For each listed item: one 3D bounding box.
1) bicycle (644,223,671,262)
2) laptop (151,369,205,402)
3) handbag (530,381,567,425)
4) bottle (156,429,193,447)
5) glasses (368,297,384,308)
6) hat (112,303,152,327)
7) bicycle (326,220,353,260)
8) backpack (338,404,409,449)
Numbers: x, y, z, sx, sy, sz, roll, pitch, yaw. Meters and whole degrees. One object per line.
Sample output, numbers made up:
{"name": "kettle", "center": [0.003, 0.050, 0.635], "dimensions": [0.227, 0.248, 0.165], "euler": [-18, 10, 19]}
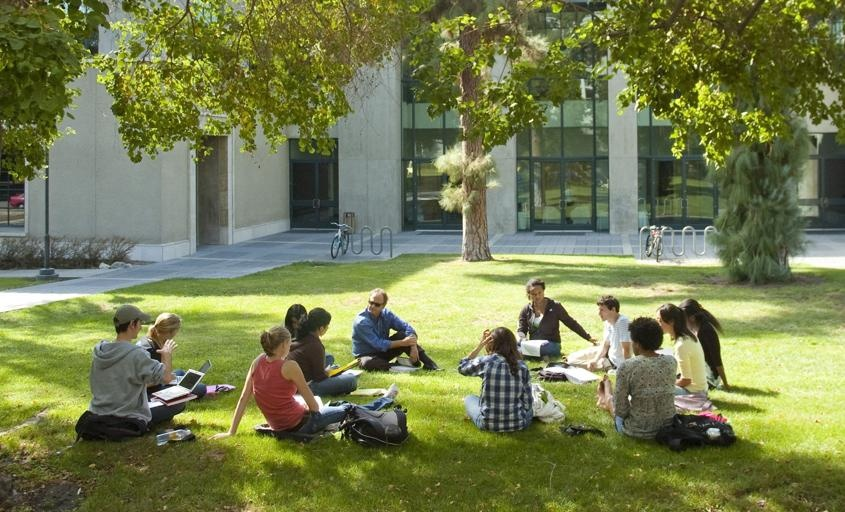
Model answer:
{"name": "bicycle", "center": [8.360, -0.447, 26.380], "dimensions": [0.897, 1.105, 1.919], "euler": [2, 1, -2]}
{"name": "laptop", "center": [-3.522, 1.894, 10.967], "dimensions": [0.388, 0.187, 0.542], "euler": [7, 4, 32]}
{"name": "handbag", "center": [1.825, 2.176, 11.003], "dimensions": [0.517, 0.241, 0.425], "euler": [14, 10, 0]}
{"name": "bottle", "center": [-3.393, 2.468, 10.316], "dimensions": [0.495, 0.134, 0.262], "euler": [-5, 13, -23]}
{"name": "glasses", "center": [-0.805, 0.793, 13.178], "dimensions": [0.184, 0.224, 0.216], "euler": [4, 3, 4]}
{"name": "hat", "center": [-3.963, 0.807, 10.238], "dimensions": [0.340, 0.341, 0.395], "euler": [2, 12, 8]}
{"name": "bicycle", "center": [-3.234, -0.589, 28.019], "dimensions": [0.961, 1.141, 1.962], "euler": [2, 5, 15]}
{"name": "backpack", "center": [-0.638, 2.346, 10.389], "dimensions": [0.599, 0.252, 0.602], "euler": [8, 4, 22]}
